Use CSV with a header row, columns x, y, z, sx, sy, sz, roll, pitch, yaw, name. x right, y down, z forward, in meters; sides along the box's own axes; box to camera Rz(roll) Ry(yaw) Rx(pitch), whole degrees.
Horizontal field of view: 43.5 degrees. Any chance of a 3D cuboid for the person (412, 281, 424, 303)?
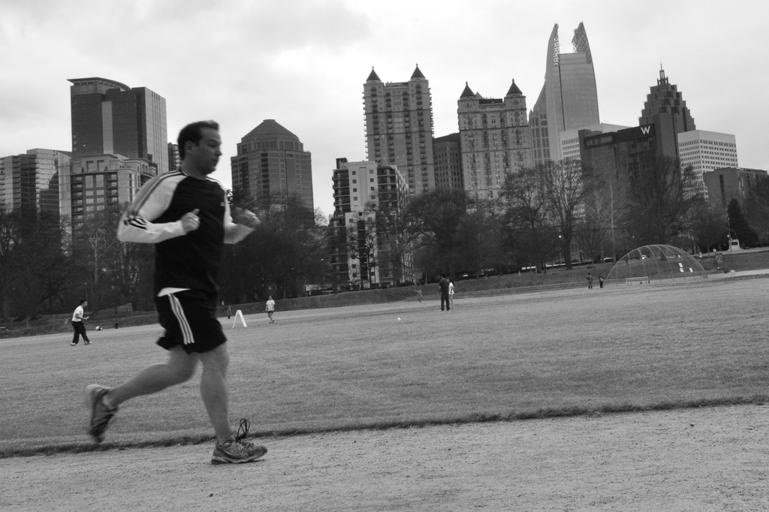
x,y,z,sx,sy,sz,roll,pitch,yaw,name
2.826,3.096,83.600,1.212,2.575,0.904,1,-8,-3,person
